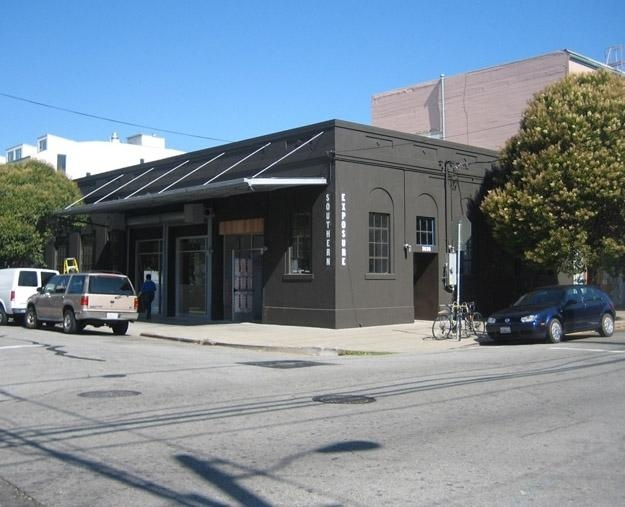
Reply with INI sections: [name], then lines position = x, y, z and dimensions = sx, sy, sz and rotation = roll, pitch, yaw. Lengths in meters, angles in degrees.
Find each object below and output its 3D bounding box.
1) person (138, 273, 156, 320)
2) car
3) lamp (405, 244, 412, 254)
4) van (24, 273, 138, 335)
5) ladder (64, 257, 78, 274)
[person]
position = -6.629, 1.690, 30.671
dimensions = 0.645, 1.657, 3.568
rotation = -1, 1, -13
[car]
position = 6.349, 1.546, 20.356
dimensions = 3.504, 1.428, 1.522
rotation = -1, 2, -35
[lamp]
position = 3.243, -0.161, 26.137
dimensions = 0.253, 0.399, 0.268
rotation = 4, -9, -28
[van]
position = -6.916, 1.368, 23.135
dimensions = 1.642, 1.637, 3.281
rotation = 6, -3, -41
[ladder]
position = -11.266, 0.533, 35.730
dimensions = 0.493, 0.768, 0.536
rotation = -14, -15, 39
